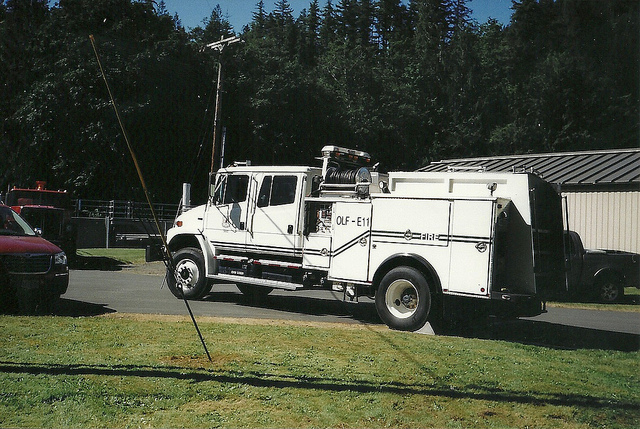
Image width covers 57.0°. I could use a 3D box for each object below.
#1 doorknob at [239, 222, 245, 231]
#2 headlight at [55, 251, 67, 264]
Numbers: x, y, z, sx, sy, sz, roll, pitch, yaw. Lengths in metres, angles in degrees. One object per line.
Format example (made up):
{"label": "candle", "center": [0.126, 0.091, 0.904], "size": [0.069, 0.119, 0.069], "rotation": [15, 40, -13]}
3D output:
{"label": "doorknob", "center": [-2.206, 0.322, 16.494], "size": [0.126, 0.194, 0.042], "rotation": [3, 6, 25]}
{"label": "headlight", "center": [-6.229, 1.066, 14.264], "size": [0.145, 0.312, 0.532], "rotation": [2, 5, -2]}
